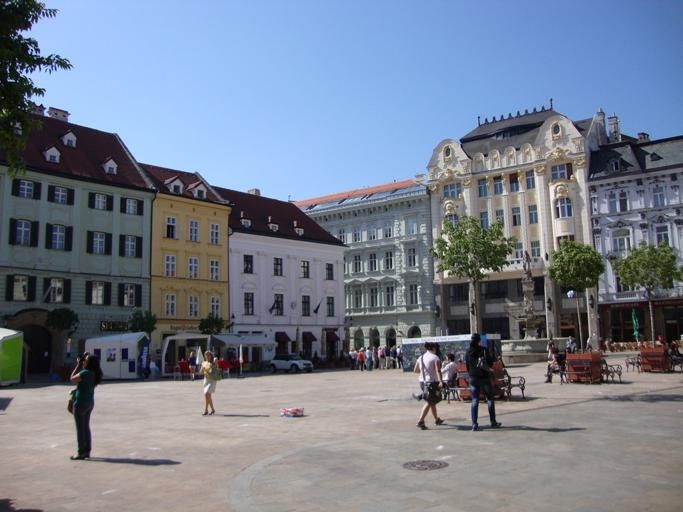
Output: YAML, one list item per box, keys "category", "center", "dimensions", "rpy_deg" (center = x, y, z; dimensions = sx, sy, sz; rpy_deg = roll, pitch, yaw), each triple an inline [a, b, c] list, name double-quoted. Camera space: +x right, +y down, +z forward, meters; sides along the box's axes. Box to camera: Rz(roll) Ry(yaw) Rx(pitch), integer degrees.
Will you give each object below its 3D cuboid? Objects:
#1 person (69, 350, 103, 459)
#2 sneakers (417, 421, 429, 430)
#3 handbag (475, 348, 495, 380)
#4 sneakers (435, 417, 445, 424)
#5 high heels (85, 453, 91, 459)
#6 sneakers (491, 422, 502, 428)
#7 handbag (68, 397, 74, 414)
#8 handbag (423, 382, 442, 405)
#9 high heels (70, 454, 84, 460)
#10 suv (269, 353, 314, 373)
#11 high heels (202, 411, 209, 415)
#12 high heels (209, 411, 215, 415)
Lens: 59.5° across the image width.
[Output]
- category: "person"
  center: [-5.648, 3.262, 13.163]
  dimensions: [0.632, 2.248, 1.256]
  rpy_deg: [2, -11, -22]
- category: "sneakers"
  center: [2.089, 4.300, 15.266]
  dimensions: [0.351, 0.238, 0.130]
  rpy_deg: [2, -2, -34]
- category: "handbag"
  center: [3.607, 2.833, 15.187]
  dimensions: [0.245, 0.795, 0.547]
  rpy_deg: [-6, 7, 24]
- category: "sneakers"
  center: [2.623, 4.357, 15.811]
  dimensions: [0.125, 0.166, 0.355]
  rpy_deg: [0, 3, 39]
- category: "high heels"
  center: [-5.443, 4.282, 12.846]
  dimensions: [0.126, 0.130, 0.071]
  rpy_deg: [2, -6, -11]
- category: "sneakers"
  center: [3.928, 4.218, 15.051]
  dimensions: [0.243, 0.135, 0.411]
  rpy_deg: [-5, -11, 14]
- category: "handbag"
  center: [-5.811, 3.191, 12.847]
  dimensions: [0.086, 0.267, 0.399]
  rpy_deg: [3, -12, -27]
- category: "handbag"
  center: [2.322, 3.434, 15.116]
  dimensions: [0.200, 0.549, 0.523]
  rpy_deg: [-16, -23, 40]
- category: "high heels"
  center: [-5.669, 4.283, 12.805]
  dimensions: [0.413, 0.110, 0.202]
  rpy_deg: [-11, -13, 37]
- category: "suv"
  center: [-4.215, 9.412, 52.114]
  dimensions: [3.006, 1.260, 1.710]
  rpy_deg: [-11, -14, 35]
- category: "high heels"
  center: [-4.504, 5.165, 19.733]
  dimensions: [0.245, 0.180, 0.092]
  rpy_deg: [-2, -12, 20]
- category: "high heels"
  center: [-4.315, 5.207, 20.047]
  dimensions: [0.189, 0.131, 0.383]
  rpy_deg: [0, -11, -15]
